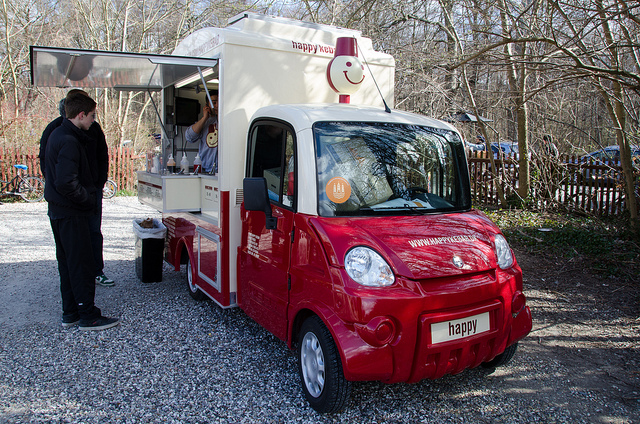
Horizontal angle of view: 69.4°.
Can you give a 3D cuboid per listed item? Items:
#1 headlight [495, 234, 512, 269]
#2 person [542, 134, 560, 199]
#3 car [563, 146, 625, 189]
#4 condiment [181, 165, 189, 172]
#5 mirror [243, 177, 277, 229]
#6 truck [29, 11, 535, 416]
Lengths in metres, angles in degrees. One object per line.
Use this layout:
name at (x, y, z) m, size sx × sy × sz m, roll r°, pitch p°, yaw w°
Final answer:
headlight at (2.138, 0.449, 5.384) m, size 0.233 × 0.364 × 0.096 m, roll -1°, pitch -9°, yaw -31°
person at (5.853, -1.204, 11.873) m, size 0.331 × 1.205 × 0.295 m, roll 6°, pitch -18°, yaw 26°
car at (7.737, -1.210, 12.340) m, size 0.972 × 1.040 × 1.974 m, roll -4°, pitch 2°, yaw -20°
condiment at (-2.217, -0.716, 7.538) m, size 0.106 × 0.127 × 0.115 m, roll 3°, pitch 10°, yaw 8°
mirror at (-0.728, -0.101, 5.583) m, size 0.407 × 0.632 × 0.237 m, roll 0°, pitch 5°, yaw -10°
truck at (-0.368, -0.328, 6.048) m, size 5.713 × 4.922 × 2.266 m, roll 4°, pitch 6°, yaw 33°
